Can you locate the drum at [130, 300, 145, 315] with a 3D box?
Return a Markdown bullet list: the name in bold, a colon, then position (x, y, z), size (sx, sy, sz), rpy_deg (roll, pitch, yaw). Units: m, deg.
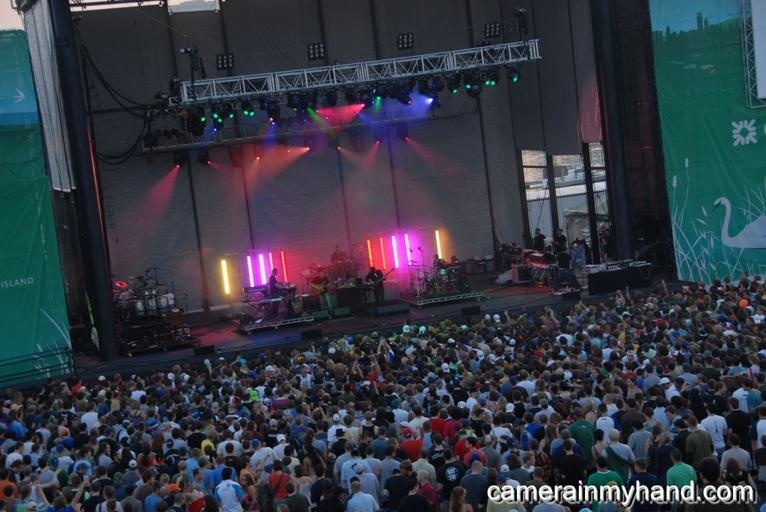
- **drum**: position (-8.663, 1.821, 38.657), size (0.456, 0.646, 0.455), rpy_deg (-1, 3, 0)
